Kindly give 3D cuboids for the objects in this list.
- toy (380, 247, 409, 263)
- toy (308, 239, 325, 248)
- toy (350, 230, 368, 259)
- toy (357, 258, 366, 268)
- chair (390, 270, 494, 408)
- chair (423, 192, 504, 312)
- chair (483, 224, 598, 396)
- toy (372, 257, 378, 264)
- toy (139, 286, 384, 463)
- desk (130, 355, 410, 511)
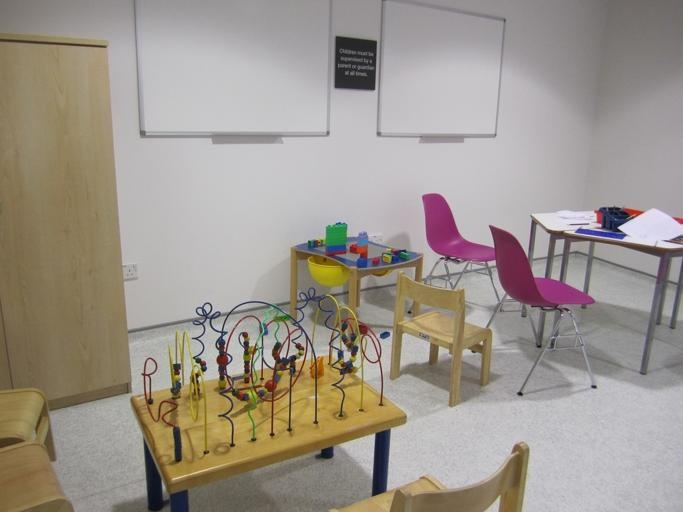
[{"bbox_3d":[0.415,0.002,4.242,0.146,0.049,0.156,-11,21,-30],"label":"toy"},{"bbox_3d":[-0.231,-0.108,4.440,0.097,0.038,0.076,-9,17,-36],"label":"toy"},{"bbox_3d":[0.139,-0.099,4.291,0.148,0.182,0.302,0,13,2],"label":"toy"},{"bbox_3d":[0.151,0.054,4.062,0.064,0.078,0.064,2,21,0],"label":"toy"},{"bbox_3d":[0.707,0.625,3.710,0.536,0.798,0.518,18,28,38],"label":"chair"},{"bbox_3d":[1.052,-0.023,4.722,0.649,0.914,0.578,9,10,41],"label":"chair"},{"bbox_3d":[1.566,0.458,4.100,0.679,1.305,0.827,-11,20,-10],"label":"chair"},{"bbox_3d":[0.263,0.037,4.126,0.040,0.047,0.048,5,8,11],"label":"toy"},{"bbox_3d":[-0.539,0.568,3.016,0.944,0.459,1.090,6,-16,-15],"label":"toy"},{"bbox_3d":[-0.366,0.785,2.410,1.122,0.370,0.611,-6,14,-24],"label":"desk"}]
